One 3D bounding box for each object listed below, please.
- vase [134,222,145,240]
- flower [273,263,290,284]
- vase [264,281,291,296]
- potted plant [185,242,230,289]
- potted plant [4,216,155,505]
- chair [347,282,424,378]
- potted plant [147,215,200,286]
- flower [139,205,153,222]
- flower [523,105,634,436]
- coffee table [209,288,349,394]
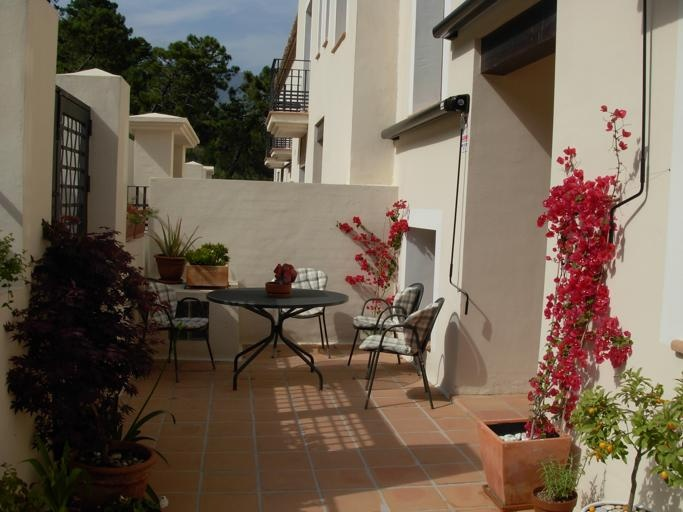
[{"bbox_3d":[-2.585,-0.326,6.974,0.088,0.175,0.177,6,27,5],"label":"vase"},{"bbox_3d":[-0.675,0.203,6.330,0.201,0.223,0.206,3,-7,-27],"label":"flower"},{"bbox_3d":[-0.712,0.364,6.213,0.270,0.155,0.175,1,7,-10],"label":"vase"},{"bbox_3d":[-1.740,0.125,7.246,0.542,0.622,0.541,0,-2,-7],"label":"potted plant"},{"bbox_3d":[-1.654,0.691,3.532,0.825,1.744,0.895,0,7,-16],"label":"potted plant"},{"bbox_3d":[0.587,0.812,7.146,1.002,1.682,0.899,4,1,-12],"label":"chair"},{"bbox_3d":[-2.349,-0.124,7.724,0.850,1.079,0.799,5,5,39],"label":"potted plant"},{"bbox_3d":[-2.626,-0.576,7.362,0.186,0.172,0.185,-6,8,-36],"label":"flower"},{"bbox_3d":[1.558,0.156,3.704,0.400,2.309,0.891,1,7,-5],"label":"flower"},{"bbox_3d":[-0.825,0.896,6.561,1.495,1.074,1.768,0,7,-13],"label":"coffee table"}]
